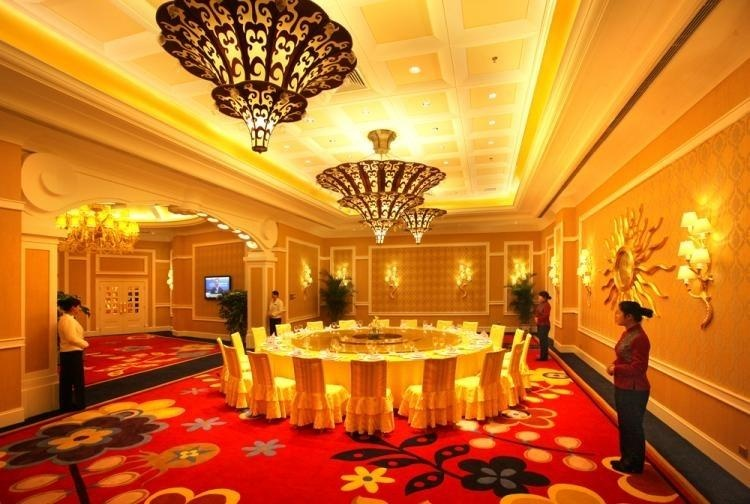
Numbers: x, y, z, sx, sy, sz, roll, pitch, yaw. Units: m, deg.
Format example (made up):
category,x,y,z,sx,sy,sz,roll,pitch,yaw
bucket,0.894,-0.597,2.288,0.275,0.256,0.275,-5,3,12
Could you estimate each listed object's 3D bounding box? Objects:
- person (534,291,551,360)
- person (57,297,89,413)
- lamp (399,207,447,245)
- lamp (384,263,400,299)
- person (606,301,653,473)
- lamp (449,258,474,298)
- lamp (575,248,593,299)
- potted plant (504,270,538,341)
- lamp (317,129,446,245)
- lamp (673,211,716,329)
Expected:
category,x,y,z,sx,sy,sz,roll,pitch,yaw
person,4.156,1.792,11.003,0.294,1.765,1.232,1,4,20
person,-5.318,1.743,7.769,0.438,1.903,0.985,-4,5,-35
lamp,1.162,-0.787,11.057,1.097,0.638,1.089,-4,-12,29
lamp,0.651,1.046,16.357,0.571,1.208,0.206,-1,4,3
person,3.217,1.713,5.657,0.458,2.160,0.322,1,5,30
lamp,3.167,0.937,15.851,0.695,1.329,0.192,0,4,7
lamp,4.850,0.470,10.225,0.247,1.118,0.700,0,4,18
potted plant,5.308,1.808,15.488,1.579,2.368,1.799,-6,-18,26
lamp,0.205,-1.097,9.554,2.376,1.743,2.521,-1,-15,4
lamp,4.340,0.244,6.094,0.306,1.612,0.607,0,4,10
